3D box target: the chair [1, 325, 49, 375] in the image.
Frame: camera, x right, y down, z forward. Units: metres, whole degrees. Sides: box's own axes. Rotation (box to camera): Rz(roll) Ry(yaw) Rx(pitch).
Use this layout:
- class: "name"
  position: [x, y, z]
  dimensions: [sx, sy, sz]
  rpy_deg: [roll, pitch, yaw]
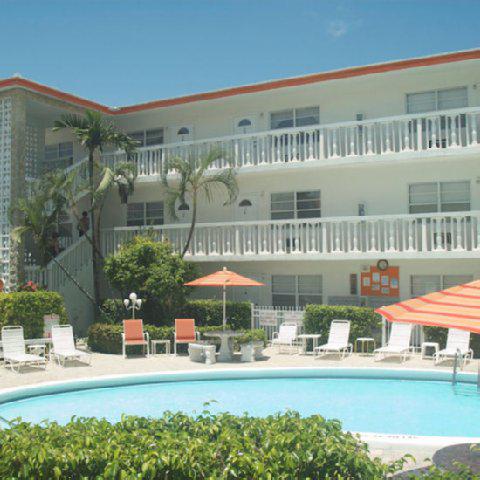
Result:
- class: "chair"
  position: [-6.057, 3.080, 23.904]
  dimensions: [0.831, 1.177, 1.494]
  rpy_deg: [2, -1, -38]

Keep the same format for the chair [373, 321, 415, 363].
- class: "chair"
  position: [4.427, 2.990, 25.021]
  dimensions: [0.796, 1.252, 1.671]
  rpy_deg: [-1, 1, 27]

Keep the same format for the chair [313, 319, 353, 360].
- class: "chair"
  position: [2.834, 3.015, 25.345]
  dimensions: [0.708, 1.033, 1.323]
  rpy_deg: [3, 13, 23]

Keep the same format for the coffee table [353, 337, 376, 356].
- class: "coffee table"
  position: [3.775, 3.213, 25.974]
  dimensions: [0.504, 0.546, 0.512]
  rpy_deg: [-4, -4, 31]

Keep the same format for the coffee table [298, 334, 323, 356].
- class: "coffee table"
  position: [2.150, 3.201, 26.637]
  dimensions: [0.550, 0.643, 0.616]
  rpy_deg: [1, 3, 19]

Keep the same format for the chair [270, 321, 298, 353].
- class: "chair"
  position: [1.402, 3.059, 27.046]
  dimensions: [0.586, 1.119, 0.943]
  rpy_deg: [-2, -8, 24]

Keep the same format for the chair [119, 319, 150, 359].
- class: "chair"
  position: [-3.117, 2.959, 25.420]
  dimensions: [0.914, 1.245, 0.967]
  rpy_deg: [-9, -9, 43]

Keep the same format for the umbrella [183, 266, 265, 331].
- class: "umbrella"
  position: [-0.484, 1.906, 25.710]
  dimensions: [2.010, 2.402, 2.296]
  rpy_deg: [-1, 7, -15]

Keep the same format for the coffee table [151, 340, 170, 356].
- class: "coffee table"
  position: [-2.441, 3.245, 26.234]
  dimensions: [0.590, 0.695, 0.446]
  rpy_deg: [1, -3, -6]

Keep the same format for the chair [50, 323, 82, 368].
- class: "chair"
  position: [-5.129, 3.002, 24.704]
  dimensions: [0.699, 1.259, 1.267]
  rpy_deg: [1, -1, -29]

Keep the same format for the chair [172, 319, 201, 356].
- class: "chair"
  position: [-1.719, 2.973, 26.152]
  dimensions: [0.860, 1.477, 0.917]
  rpy_deg: [1, -5, -12]

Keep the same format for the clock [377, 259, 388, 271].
- class: "clock"
  position: [4.719, 0.828, 28.235]
  dimensions: [0.287, 0.360, 0.074]
  rpy_deg: [-3, 0, 30]
